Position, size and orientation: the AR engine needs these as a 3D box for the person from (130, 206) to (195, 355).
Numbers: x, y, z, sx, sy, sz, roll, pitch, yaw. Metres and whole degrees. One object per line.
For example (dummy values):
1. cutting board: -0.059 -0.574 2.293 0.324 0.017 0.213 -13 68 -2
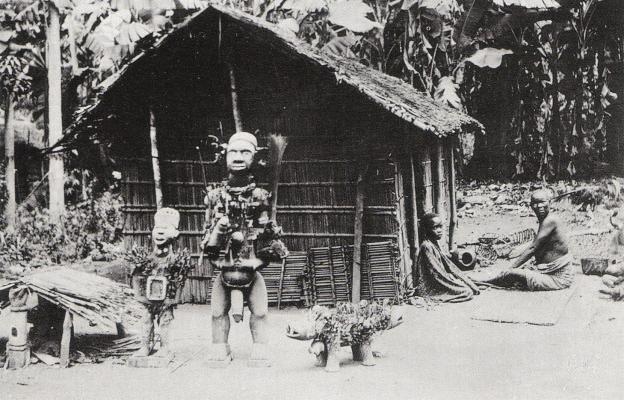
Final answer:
1. person: -1.836 1.012 8.223 0.695 1.831 0.490 0 -6 -11

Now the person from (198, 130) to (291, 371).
1. person: -0.837 0.595 8.056 0.935 2.762 0.553 0 -5 -10

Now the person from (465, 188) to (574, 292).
1. person: 2.776 0.518 9.159 1.371 1.293 0.881 -2 2 16

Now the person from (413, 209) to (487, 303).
1. person: 1.917 0.766 9.182 0.907 1.048 0.905 3 5 -22
